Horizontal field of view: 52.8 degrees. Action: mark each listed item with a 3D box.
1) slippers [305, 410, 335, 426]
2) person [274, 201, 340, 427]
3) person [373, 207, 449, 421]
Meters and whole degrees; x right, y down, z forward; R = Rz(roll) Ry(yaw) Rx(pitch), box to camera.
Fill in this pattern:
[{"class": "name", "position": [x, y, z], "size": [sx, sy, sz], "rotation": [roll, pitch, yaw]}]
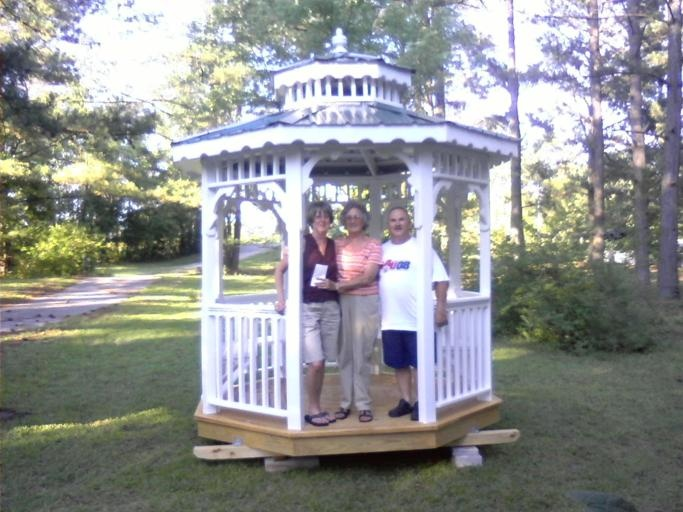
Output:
[{"class": "slippers", "position": [-0.300, 2.050, 8.657], "size": [0.191, 0.095, 0.244], "rotation": [4, -8, -40]}, {"class": "person", "position": [-0.264, 0.707, 8.659], "size": [0.471, 2.720, 0.791], "rotation": [-1, 12, -1]}, {"class": "person", "position": [0.903, 0.730, 8.791], "size": [0.839, 2.663, 0.745], "rotation": [0, 12, 3]}]
